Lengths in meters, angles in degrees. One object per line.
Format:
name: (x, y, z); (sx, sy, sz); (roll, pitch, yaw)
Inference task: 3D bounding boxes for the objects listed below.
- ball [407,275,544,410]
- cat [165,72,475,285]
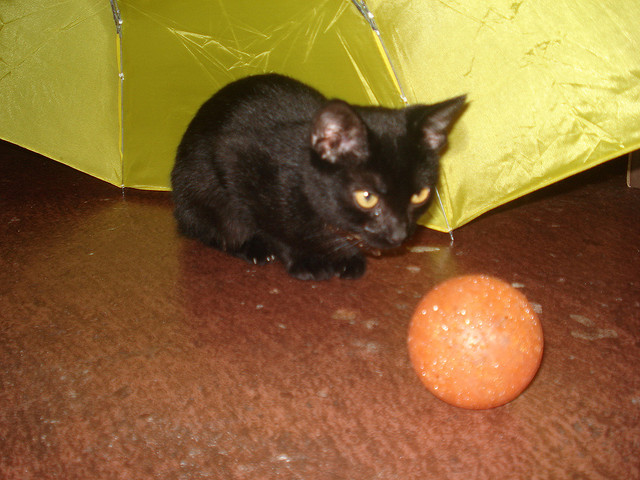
ball: (0.475, 0.306, 1.962); (0.381, 0.248, 0.309); (4, 48, 6)
cat: (-0.141, -0.323, 2.792); (0.841, 0.896, 1.422); (-12, 30, -32)
